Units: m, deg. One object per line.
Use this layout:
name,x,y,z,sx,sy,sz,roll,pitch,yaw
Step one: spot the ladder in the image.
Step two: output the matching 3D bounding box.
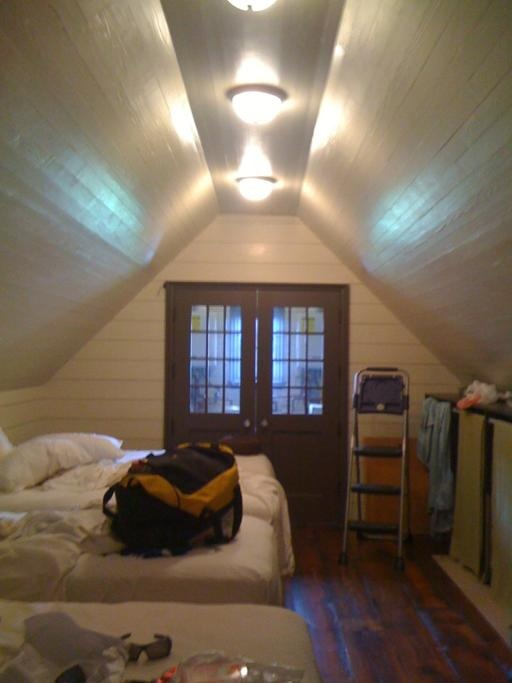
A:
ladder,0.838,0.825,3.551,0.491,1.276,1.013,-1,-2,17
